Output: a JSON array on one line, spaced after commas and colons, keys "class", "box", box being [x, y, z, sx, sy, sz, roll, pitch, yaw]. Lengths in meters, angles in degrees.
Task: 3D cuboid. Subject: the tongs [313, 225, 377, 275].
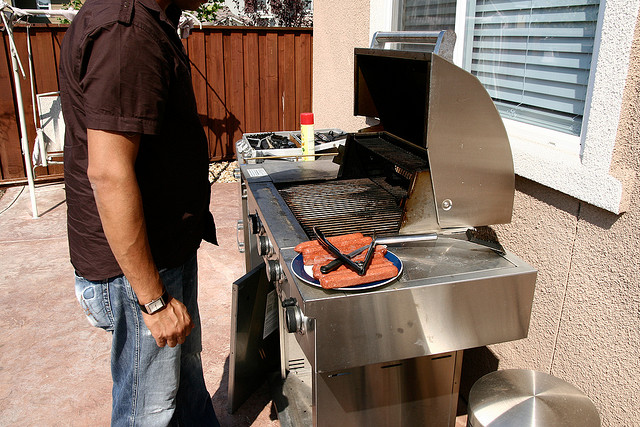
[{"class": "tongs", "box": [0.102, 0.149, 1.777, 0.263, 0.114, 0.227, 1, 22, 3]}]

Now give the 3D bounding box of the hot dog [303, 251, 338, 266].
[{"class": "hot dog", "box": [-0.012, 0.182, 1.778, 0.084, 0.022, 0.065, -9, 18, -19]}]

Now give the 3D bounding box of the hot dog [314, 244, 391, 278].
[{"class": "hot dog", "box": [0.123, 0.196, 1.753, 0.204, 0.058, 0.252, -8, 16, -36]}]
